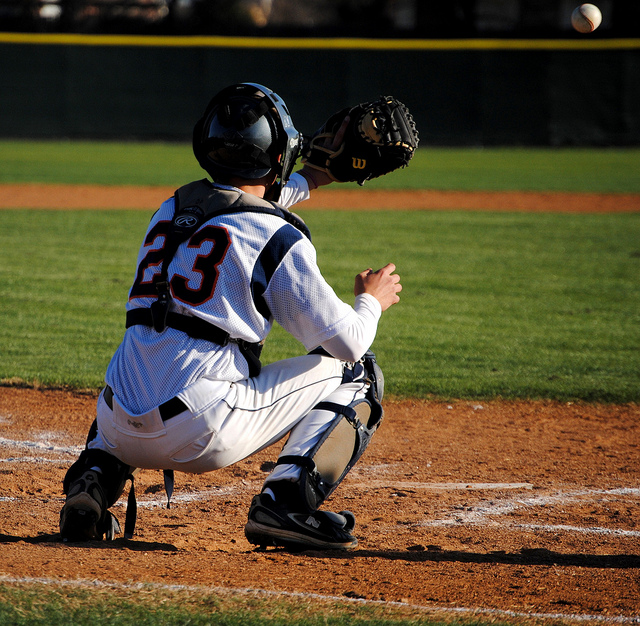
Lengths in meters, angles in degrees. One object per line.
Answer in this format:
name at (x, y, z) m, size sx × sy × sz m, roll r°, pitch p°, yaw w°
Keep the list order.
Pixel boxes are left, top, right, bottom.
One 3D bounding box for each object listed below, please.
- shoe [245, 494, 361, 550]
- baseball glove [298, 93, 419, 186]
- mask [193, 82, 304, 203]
shoe at (-0.103, 0.826, 4.097) m, size 0.546 × 0.178 × 0.175 m, roll 3°, pitch -4°, yaw -10°
baseball glove at (0.213, -0.836, 5.033) m, size 0.626 × 0.225 × 0.402 m, roll -14°, pitch 23°, yaw 8°
mask at (-0.310, -0.709, 4.372) m, size 0.483 × 0.402 × 0.482 m, roll 13°, pitch 16°, yaw 5°
